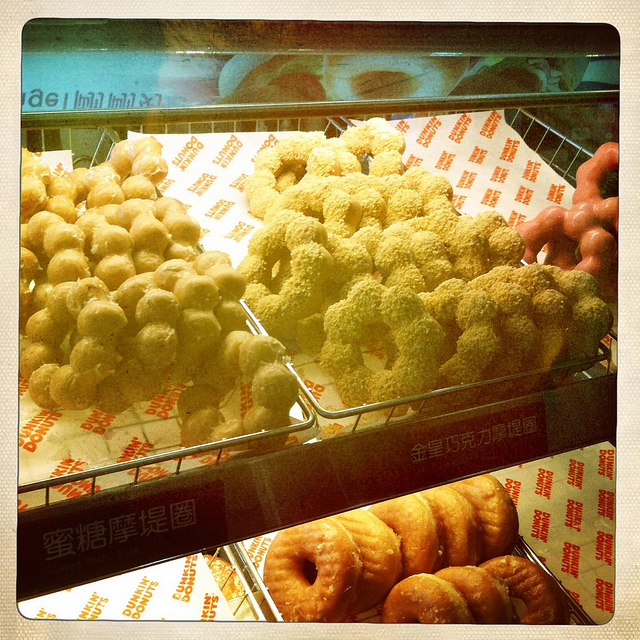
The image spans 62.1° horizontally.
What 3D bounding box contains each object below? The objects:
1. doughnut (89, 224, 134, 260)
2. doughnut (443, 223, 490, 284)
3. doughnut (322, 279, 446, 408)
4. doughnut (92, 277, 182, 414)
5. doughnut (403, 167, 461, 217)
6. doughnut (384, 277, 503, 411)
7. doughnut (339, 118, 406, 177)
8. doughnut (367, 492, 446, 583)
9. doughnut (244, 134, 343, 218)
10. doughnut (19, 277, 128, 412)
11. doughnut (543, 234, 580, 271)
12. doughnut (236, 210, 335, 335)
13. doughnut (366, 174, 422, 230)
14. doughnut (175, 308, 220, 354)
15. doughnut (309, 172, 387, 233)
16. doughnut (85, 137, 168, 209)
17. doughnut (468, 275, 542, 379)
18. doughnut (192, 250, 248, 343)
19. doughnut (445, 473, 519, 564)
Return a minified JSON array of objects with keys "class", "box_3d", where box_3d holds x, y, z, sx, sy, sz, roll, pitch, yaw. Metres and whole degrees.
[{"class":"doughnut","box_3d":[-0.307,-0.115,0.787,0.062,0.047,0.038,-5,15,-16]},{"class":"doughnut","box_3d":[0.236,-0.107,0.866,0.075,0.090,0.040,-14,-5,2]},{"class":"doughnut","box_3d":[0.089,0.037,0.809,0.200,0.186,0.069,7,0,10]},{"class":"doughnut","box_3d":[-0.244,0.047,0.750,0.180,0.168,0.066,-2,-10,25]},{"class":"doughnut","box_3d":[0.190,-0.225,0.925,0.089,0.087,0.028,-32,-32,-25]},{"class":"doughnut","box_3d":[0.224,0.047,0.821,0.196,0.179,0.064,-4,-10,9]},{"class":"doughnut","box_3d":[0.107,-0.310,0.997,0.111,0.108,0.030,-41,-19,1]},{"class":"doughnut","box_3d":[0.156,0.362,0.894,0.140,0.128,0.046,-31,-32,26]},{"class":"doughnut","box_3d":[-0.035,-0.244,0.958,0.123,0.034,0.120,24,-21,37]},{"class":"doughnut","box_3d":[-0.325,0.045,0.785,0.188,0.177,0.072,-24,-24,27]},{"class":"doughnut","box_3d":[0.415,-0.113,0.910,0.064,0.059,0.023,12,-13,12]},{"class":"doughnut","box_3d":[-0.032,-0.062,0.874,0.152,0.179,0.066,23,-7,22]},{"class":"doughnut","box_3d":[0.137,-0.219,0.954,0.100,0.036,0.100,-17,-5,-21]},{"class":"doughnut","box_3d":[-0.179,0.019,0.814,0.065,0.064,0.068,5,-1,-26]},{"class":"doughnut","box_3d":[0.042,-0.184,0.897,0.114,0.041,0.109,5,24,-10]},{"class":"doughnut","box_3d":[-0.303,-0.230,0.858,0.120,0.111,0.037,-9,-30,1]},{"class":"doughnut","box_3d":[0.304,0.018,0.841,0.146,0.137,0.054,-15,-7,-13]},{"class":"doughnut","box_3d":[-0.152,-0.034,0.805,0.076,0.130,0.047,-4,-23,-23]},{"class":"doughnut","box_3d":[0.274,0.383,0.962,0.056,0.167,0.185,3,-12,-21]}]
